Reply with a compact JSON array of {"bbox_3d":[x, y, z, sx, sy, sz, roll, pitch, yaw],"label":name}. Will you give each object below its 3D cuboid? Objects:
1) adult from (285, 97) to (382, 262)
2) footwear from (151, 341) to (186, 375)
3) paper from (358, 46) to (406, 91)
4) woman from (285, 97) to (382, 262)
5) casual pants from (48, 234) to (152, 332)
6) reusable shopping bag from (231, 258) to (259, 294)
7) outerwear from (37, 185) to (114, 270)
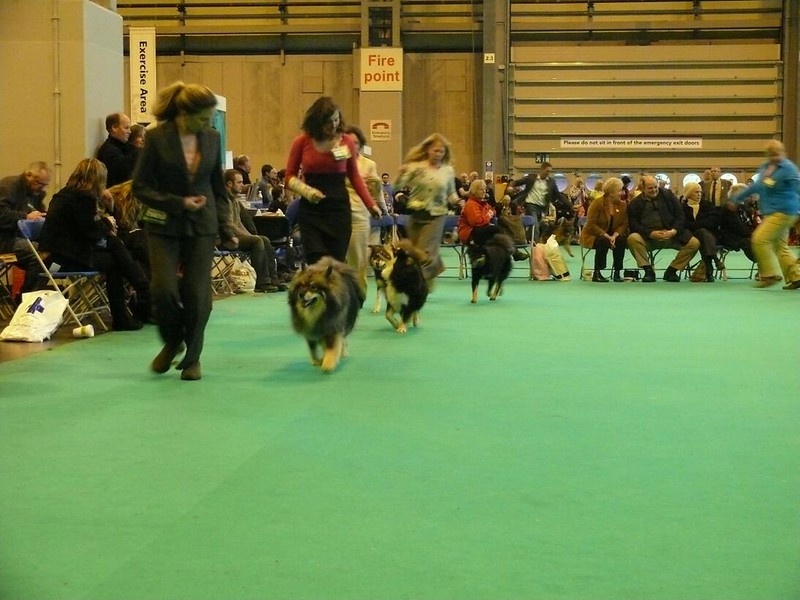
[{"bbox_3d":[-0.661,-1.001,6.120,0.573,1.375,0.421,-1,6,-10],"label":"adult"},{"bbox_3d":[-1.698,0.434,5.382,0.253,0.093,0.113,-43,-12,13],"label":"footwear"},{"bbox_3d":[-0.630,-7.183,22.771,1.385,1.415,0.466,0,1,1],"label":"paper"},{"bbox_3d":[-0.662,-1.001,6.122,0.571,1.375,0.427,-1,6,-9],"label":"woman"},{"bbox_3d":[-2.989,-0.271,7.311,0.798,1.120,1.081,0,3,8],"label":"casual pants"},{"bbox_3d":[-2.376,-0.353,11.109,0.162,0.519,0.373,-15,16,40],"label":"reusable shopping bag"},{"bbox_3d":[-3.080,-0.722,7.048,0.689,0.858,0.718,-6,11,-27],"label":"outerwear"}]
